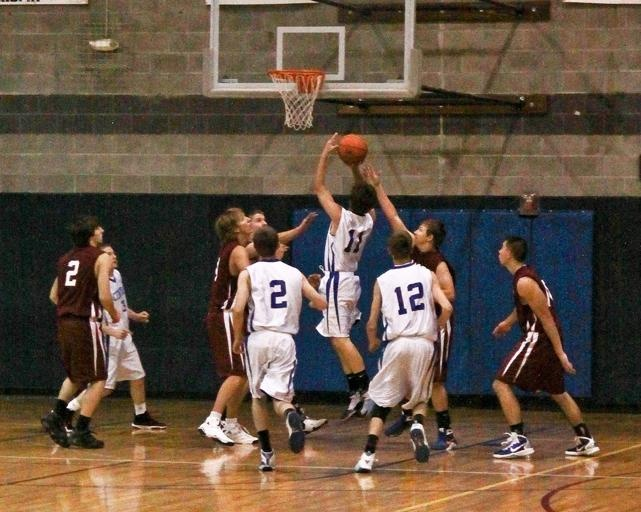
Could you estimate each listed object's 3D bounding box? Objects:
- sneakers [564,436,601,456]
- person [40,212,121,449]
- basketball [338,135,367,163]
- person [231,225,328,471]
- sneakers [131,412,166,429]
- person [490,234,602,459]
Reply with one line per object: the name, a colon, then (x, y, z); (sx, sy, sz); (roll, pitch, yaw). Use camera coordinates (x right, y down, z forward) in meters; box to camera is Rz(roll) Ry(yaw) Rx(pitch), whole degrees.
sneakers: (2.402, 1.766, 10.457); (0.374, 0.200, 0.140); (-3, 2, 13)
person: (-2.261, 0.745, 10.683); (0.714, 2.024, 0.580); (-3, 1, -17)
basketball: (0.312, -1.026, 11.227); (0.278, 0.250, 0.215); (-3, 1, 1)
person: (-0.366, 0.819, 9.671); (0.747, 1.781, 0.575); (-3, 1, -4)
sneakers: (-1.784, 1.726, 11.761); (0.433, 0.206, 0.151); (2, -3, 0)
person: (2.051, 0.845, 10.520); (0.913, 1.498, 0.669); (-2, 1, 13)
